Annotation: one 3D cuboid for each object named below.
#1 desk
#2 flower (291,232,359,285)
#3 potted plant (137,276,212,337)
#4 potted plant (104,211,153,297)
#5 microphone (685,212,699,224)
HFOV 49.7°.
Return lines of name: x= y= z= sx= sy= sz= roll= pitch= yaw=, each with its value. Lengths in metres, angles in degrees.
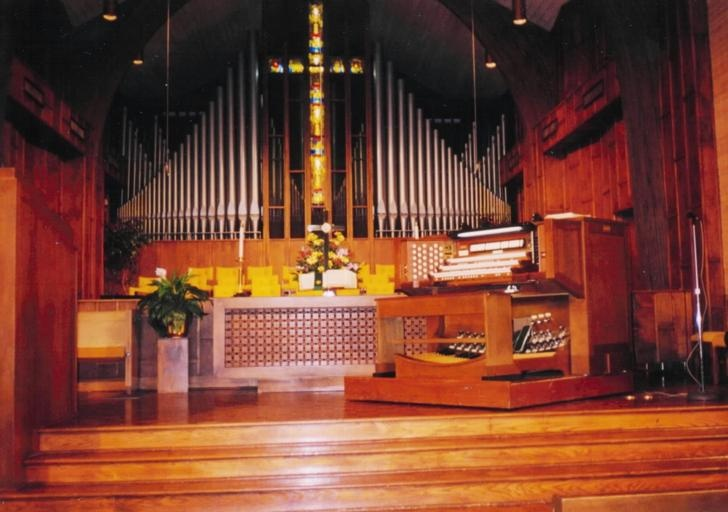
desk: x=0.907 y=0.619 z=6.800 sx=1.453 sy=0.728 sz=1.194 roll=-8 pitch=1 yaw=40
flower: x=-0.372 y=0.063 z=7.962 sx=0.539 sy=0.444 sz=0.552 roll=1 pitch=-2 yaw=-2
potted plant: x=-1.823 y=0.511 z=7.633 sx=0.595 sy=0.460 sz=0.607 roll=-8 pitch=-12 yaw=39
potted plant: x=-3.641 y=-0.084 z=11.277 sx=0.835 sy=1.151 sz=0.823 roll=-1 pitch=2 yaw=-28
microphone: x=2.924 y=-0.346 z=6.976 sx=0.045 sy=0.070 sz=0.133 roll=-37 pitch=-11 yaw=25
